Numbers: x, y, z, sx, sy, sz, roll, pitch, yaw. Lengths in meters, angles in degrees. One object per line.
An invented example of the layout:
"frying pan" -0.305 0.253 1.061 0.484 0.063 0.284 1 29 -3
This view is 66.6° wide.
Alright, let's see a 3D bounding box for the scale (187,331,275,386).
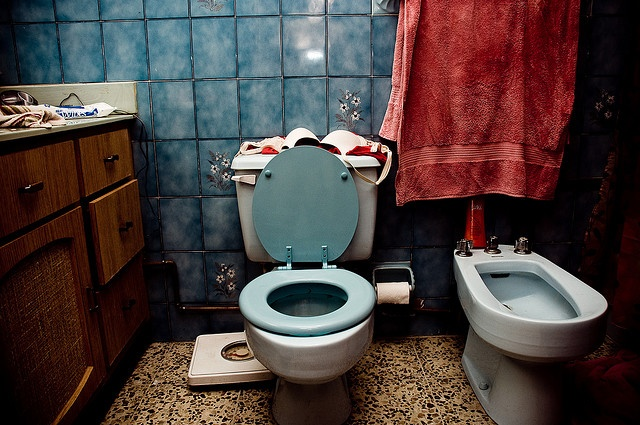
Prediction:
"scale" -0.436 0.689 2.261 0.292 0.061 0.298 -1 17 -9
